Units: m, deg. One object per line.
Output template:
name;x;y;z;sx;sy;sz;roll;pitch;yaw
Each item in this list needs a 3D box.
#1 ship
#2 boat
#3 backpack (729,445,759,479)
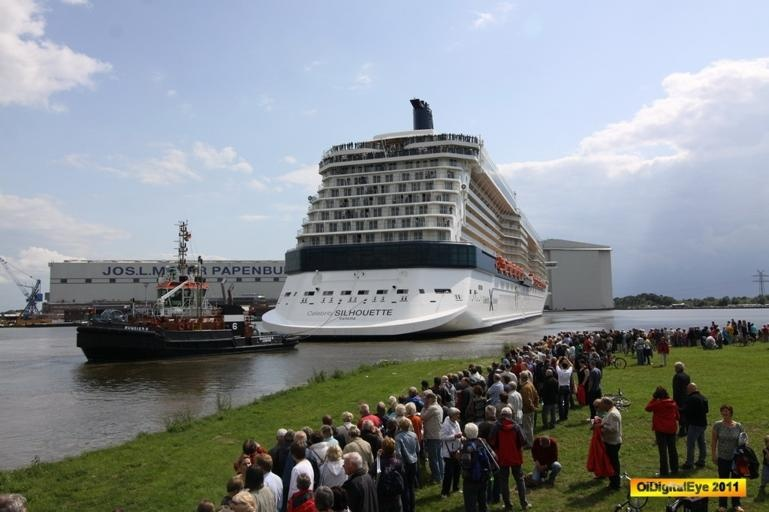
ship;7.887;-2.742;78.007;19.731;23.004;66.150;7;-2;17
boat;-13.600;2.421;40.915;15.055;9.560;6.009;-2;-2;-28
backpack;8.901;4.998;14.025;0.553;0.907;0.283;-3;-1;10
